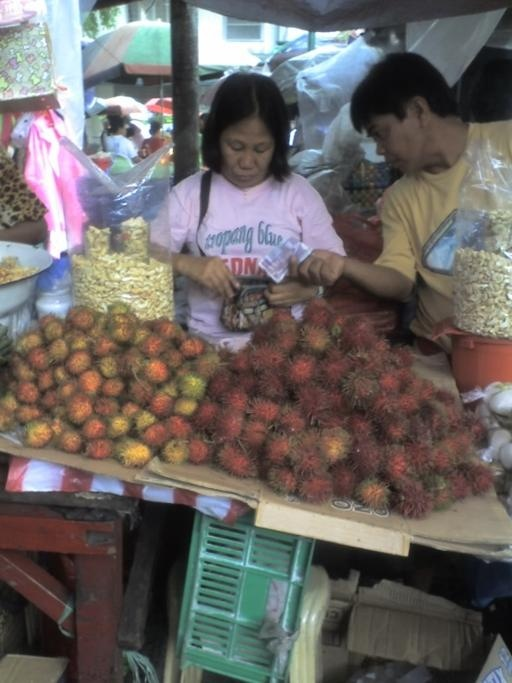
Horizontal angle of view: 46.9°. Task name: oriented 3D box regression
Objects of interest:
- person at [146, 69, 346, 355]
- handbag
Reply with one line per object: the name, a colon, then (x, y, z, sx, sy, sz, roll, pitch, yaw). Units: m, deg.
person: (-0.038, -0.408, 2.088, 0.701, 0.967, 0.488, 4, 32, 1)
handbag: (0.000, -0.106, 1.743, 0.168, 0.066, 0.132, -7, 37, 18)
